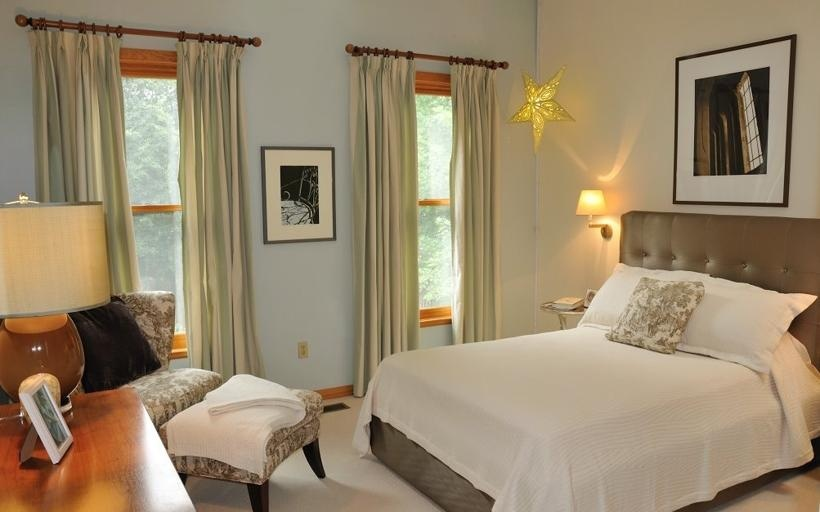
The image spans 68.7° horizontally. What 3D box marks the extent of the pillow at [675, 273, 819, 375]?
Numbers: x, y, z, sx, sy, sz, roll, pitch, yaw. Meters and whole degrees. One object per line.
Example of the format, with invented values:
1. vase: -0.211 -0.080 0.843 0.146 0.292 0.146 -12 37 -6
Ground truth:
1. pillow: 2.450 0.516 4.427 0.793 0.536 0.504 4 10 33

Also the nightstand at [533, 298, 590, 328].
1. nightstand: 1.467 0.486 5.683 0.357 0.257 0.343 -3 3 -19

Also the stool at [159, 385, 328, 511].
1. stool: -1.117 1.356 4.187 0.839 0.608 0.863 -1 2 29

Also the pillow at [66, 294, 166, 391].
1. pillow: -2.168 0.691 4.395 0.200 0.645 0.630 -27 -2 36

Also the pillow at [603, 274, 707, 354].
1. pillow: 1.906 0.422 4.583 0.180 0.555 0.586 34 -9 -30

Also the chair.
1. chair: -1.887 0.707 4.662 0.973 1.079 0.910 0 5 29

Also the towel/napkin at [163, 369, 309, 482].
1. towel/napkin: -1.186 1.129 4.010 0.694 0.332 0.691 3 18 22
